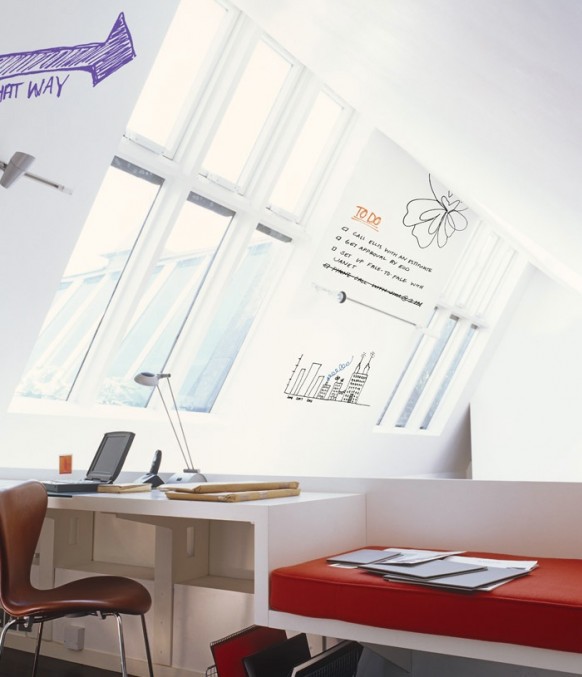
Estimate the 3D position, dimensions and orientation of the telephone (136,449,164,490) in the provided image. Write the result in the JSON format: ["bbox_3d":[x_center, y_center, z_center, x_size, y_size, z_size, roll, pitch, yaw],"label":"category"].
[{"bbox_3d":[-0.579,0.555,2.540,0.142,0.158,0.106,7,-16,-14],"label":"telephone"}]

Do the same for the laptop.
[{"bbox_3d":[-0.836,0.506,2.484,0.411,0.215,0.403,-9,-10,25],"label":"laptop"}]
